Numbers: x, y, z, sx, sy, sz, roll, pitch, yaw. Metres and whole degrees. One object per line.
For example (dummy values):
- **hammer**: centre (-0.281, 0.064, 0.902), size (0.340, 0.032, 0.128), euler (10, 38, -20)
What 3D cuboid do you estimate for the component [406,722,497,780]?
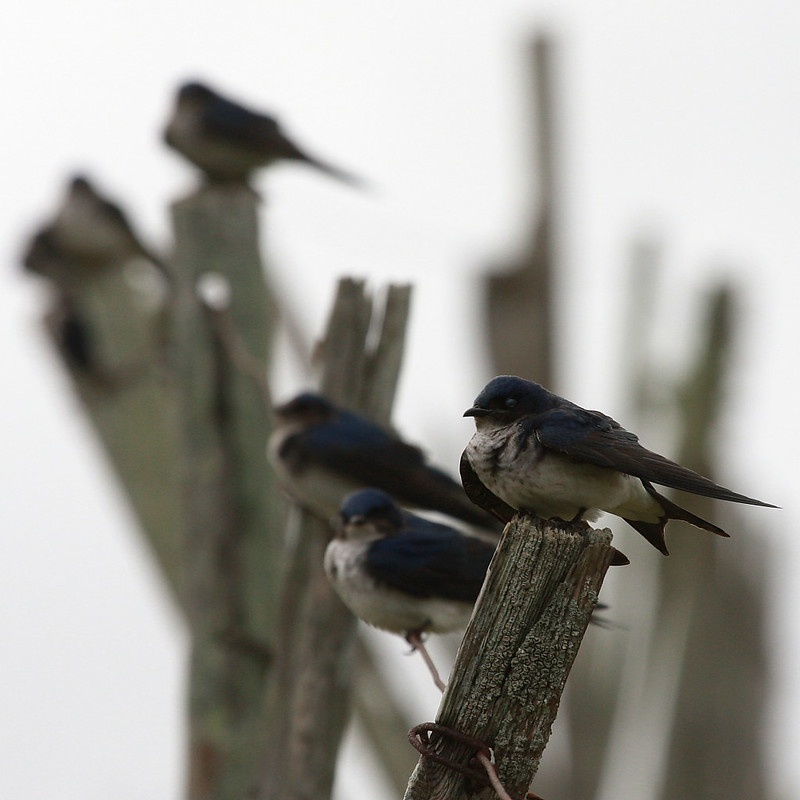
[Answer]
- **component**: centre (0.114, 0.898, 5.113), size (0.240, 0.113, 0.069), euler (10, 30, 25)
